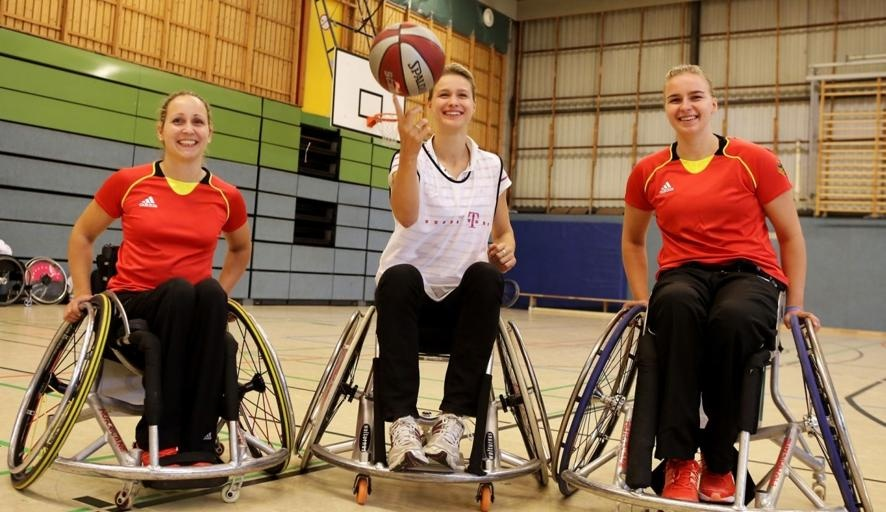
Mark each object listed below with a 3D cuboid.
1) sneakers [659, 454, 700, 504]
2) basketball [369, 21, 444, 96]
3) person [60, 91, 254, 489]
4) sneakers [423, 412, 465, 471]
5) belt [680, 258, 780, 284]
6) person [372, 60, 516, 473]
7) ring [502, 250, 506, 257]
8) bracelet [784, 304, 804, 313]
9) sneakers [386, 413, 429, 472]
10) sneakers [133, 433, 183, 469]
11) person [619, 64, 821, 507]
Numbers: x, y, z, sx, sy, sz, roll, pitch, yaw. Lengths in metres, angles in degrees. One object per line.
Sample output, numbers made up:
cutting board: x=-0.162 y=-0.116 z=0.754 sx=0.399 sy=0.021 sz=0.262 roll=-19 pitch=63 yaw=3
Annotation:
sneakers: x=1.078 y=1.020 z=2.969 sx=0.148 sy=0.177 sz=0.152 roll=6 pitch=8 yaw=18
basketball: x=-0.179 y=-0.997 z=3.494 sx=0.379 sy=0.399 sz=0.381 roll=6 pitch=-17 yaw=0
person: x=-1.396 y=0.070 z=3.165 sx=0.843 sy=1.766 sz=0.747 roll=1 pitch=8 yaw=-19
sneakers: x=0.010 y=0.906 z=3.151 sx=0.235 sy=0.293 sz=0.155 roll=1 pitch=8 yaw=-18
belt: x=1.404 y=0.058 z=3.183 sx=0.306 sy=0.081 sz=0.189 roll=4 pitch=-6 yaw=12
person: x=0.026 y=0.081 z=3.319 sx=0.736 sy=2.167 sz=0.763 roll=2 pitch=7 yaw=-9
ring: x=0.315 y=-0.016 z=3.346 sx=0.027 sy=0.026 sz=0.006 roll=-2 pitch=-6 yaw=-10
bracelet: x=1.690 y=0.257 z=3.149 sx=0.053 sy=0.039 sz=0.053 roll=0 pitch=5 yaw=0
sneakers: x=-0.170 y=0.890 z=3.106 sx=0.186 sy=0.238 sz=0.190 roll=3 pitch=8 yaw=-5
sneakers: x=-1.328 y=0.906 z=3.027 sx=0.174 sy=0.063 sz=0.138 roll=-1 pitch=-5 yaw=10
person: x=1.360 y=0.069 z=3.213 sx=0.761 sy=2.014 sz=0.774 roll=3 pitch=7 yaw=-5
